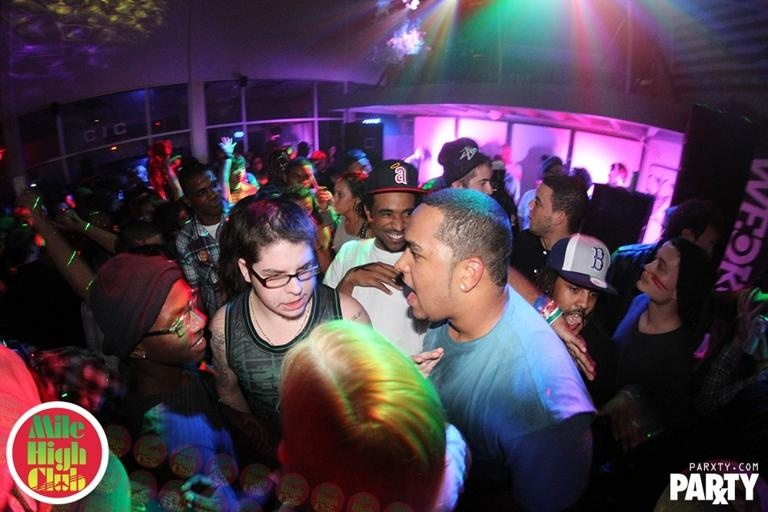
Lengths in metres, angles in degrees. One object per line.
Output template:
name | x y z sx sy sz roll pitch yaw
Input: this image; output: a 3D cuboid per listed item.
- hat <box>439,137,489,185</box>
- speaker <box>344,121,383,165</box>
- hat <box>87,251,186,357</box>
hat | 1.076 -1.240 6.042 0.672 0.530 0.489 -9 -6 35
speaker | -0.648 -3.305 14.689 1.293 1.590 1.001 -2 -25 7
hat | -1.943 0.314 3.702 0.754 0.631 0.677 1 24 -4
